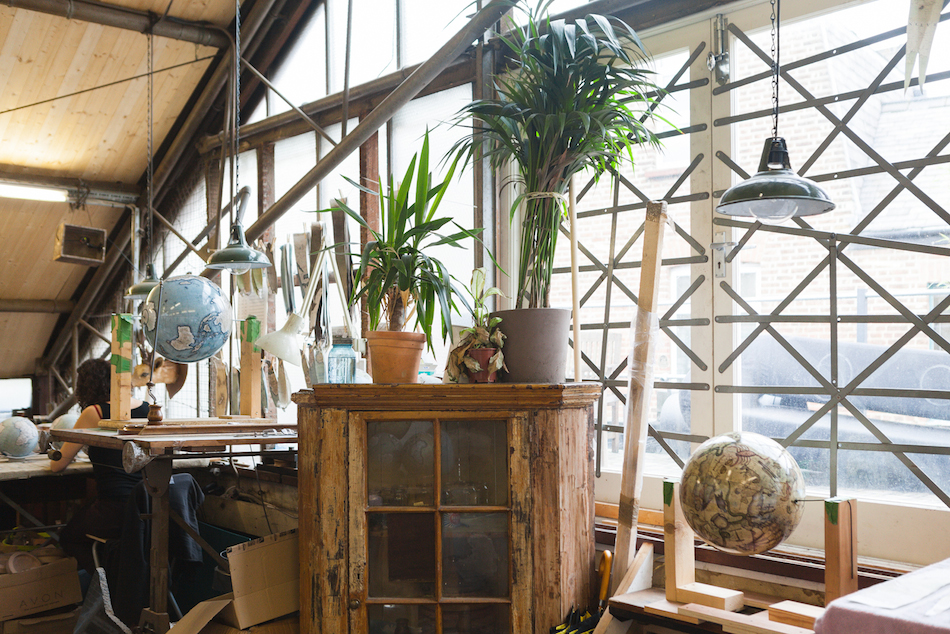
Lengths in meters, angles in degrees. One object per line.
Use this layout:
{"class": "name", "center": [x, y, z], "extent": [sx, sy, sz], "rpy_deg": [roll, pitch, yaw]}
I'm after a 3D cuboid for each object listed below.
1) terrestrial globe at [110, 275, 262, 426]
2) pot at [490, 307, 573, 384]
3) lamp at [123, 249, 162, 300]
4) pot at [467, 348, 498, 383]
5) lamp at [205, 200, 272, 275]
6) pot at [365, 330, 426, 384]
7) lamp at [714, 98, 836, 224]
{"class": "terrestrial globe", "center": [-1.860, -0.010, 5.535], "extent": [0.578, 0.702, 0.578], "rpy_deg": [24, 26, 28]}
{"class": "pot", "center": [0.328, 0.152, 4.615], "extent": [0.344, 0.326, 0.405], "rpy_deg": [-1, -9, -2]}
{"class": "lamp", "center": [-2.301, -0.284, 6.087], "extent": [0.394, 0.275, 0.405], "rpy_deg": [2, -4, -25]}
{"class": "pot", "center": [0.050, 0.253, 4.630], "extent": [0.160, 0.170, 0.165], "rpy_deg": [0, -2, 0]}
{"class": "lamp", "center": [-1.502, -0.474, 5.399], "extent": [0.353, 0.352, 0.385], "rpy_deg": [0, 2, 34]}
{"class": "pot", "center": [-0.436, 0.225, 4.689], "extent": [0.286, 0.232, 0.277], "rpy_deg": [1, -10, 0]}
{"class": "lamp", "center": [1.531, -0.852, 4.343], "extent": [0.531, 0.629, 0.398], "rpy_deg": [7, -11, -16]}
